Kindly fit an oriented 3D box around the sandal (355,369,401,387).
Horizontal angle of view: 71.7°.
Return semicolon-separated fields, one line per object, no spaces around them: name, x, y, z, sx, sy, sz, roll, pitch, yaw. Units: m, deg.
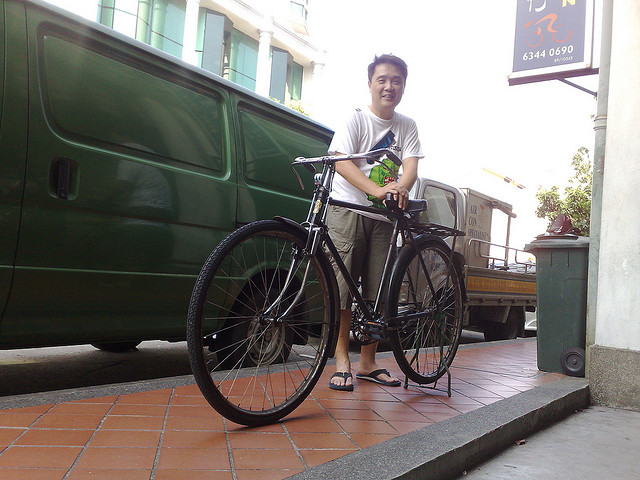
sandal;0.475;1.140;3.723;0.340;0.090;0.127;-6;-8;43
